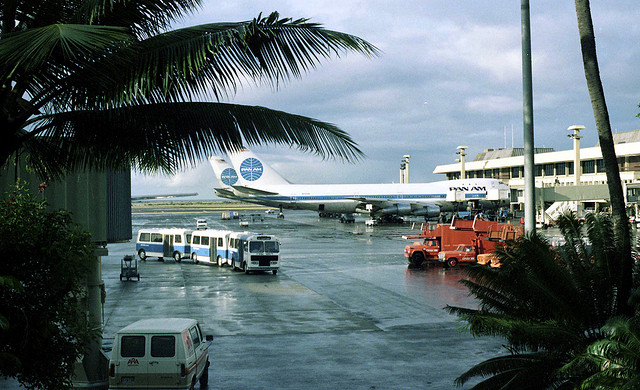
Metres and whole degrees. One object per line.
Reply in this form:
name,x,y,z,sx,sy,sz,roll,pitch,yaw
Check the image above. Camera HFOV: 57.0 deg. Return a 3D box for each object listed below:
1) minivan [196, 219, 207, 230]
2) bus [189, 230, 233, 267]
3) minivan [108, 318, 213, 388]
minivan,-17.185,4.374,86.657,1.296,1.096,2.279,0,4,-15
bus,-8.550,4.285,48.035,4.994,2.399,1.681,0,-1,42
minivan,-5.254,5.220,19.313,2.574,2.108,2.178,-3,-4,7
